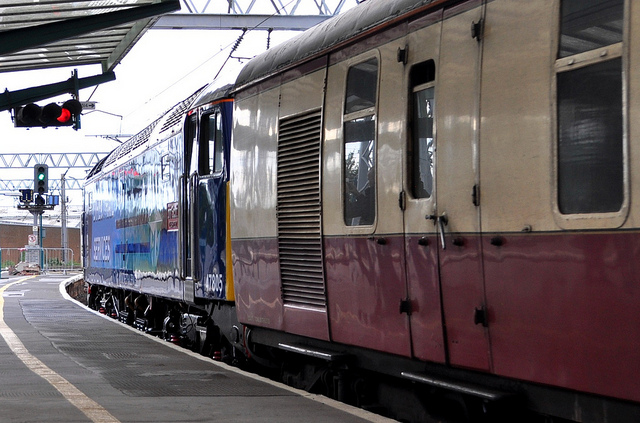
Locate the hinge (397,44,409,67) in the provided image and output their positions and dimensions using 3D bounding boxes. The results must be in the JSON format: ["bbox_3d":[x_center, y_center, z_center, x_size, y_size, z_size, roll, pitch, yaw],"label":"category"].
[{"bbox_3d":[0.773,-1.462,5.094,0.132,0.168,0.020,-3,-1,44],"label":"hinge"}]

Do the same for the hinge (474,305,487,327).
[{"bbox_3d":[1.307,0.847,4.435,0.107,0.161,0.023,-3,-1,45],"label":"hinge"}]

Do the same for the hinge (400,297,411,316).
[{"bbox_3d":[0.783,0.882,5.041,0.022,0.139,0.126,-1,-1,-39],"label":"hinge"}]

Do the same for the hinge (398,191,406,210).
[{"bbox_3d":[0.757,-0.103,5.024,0.015,0.143,0.070,-1,-1,-35],"label":"hinge"}]

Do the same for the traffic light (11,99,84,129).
[{"bbox_3d":[-7.625,-2.887,14.975,1.834,0.951,0.893,-7,32,-36],"label":"traffic light"}]

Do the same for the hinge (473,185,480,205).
[{"bbox_3d":[1.279,-0.138,4.457,0.055,0.148,0.022,-3,-1,35],"label":"hinge"}]

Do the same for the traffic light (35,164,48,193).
[{"bbox_3d":[-12.702,-1.505,24.605,0.493,1.343,1.076,-2,-1,-28],"label":"traffic light"}]

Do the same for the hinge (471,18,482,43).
[{"bbox_3d":[1.297,-1.495,4.505,0.091,0.182,0.028,-3,-1,30],"label":"hinge"}]
